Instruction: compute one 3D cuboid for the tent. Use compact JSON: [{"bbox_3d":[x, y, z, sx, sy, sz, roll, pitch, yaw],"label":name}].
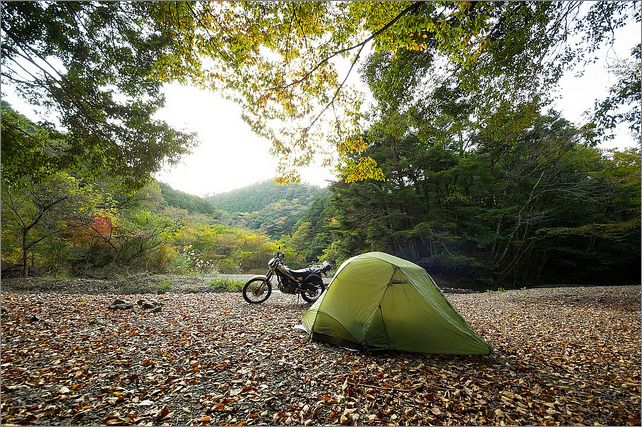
[{"bbox_3d":[2.109,2.760,9.882,3.576,1.468,3.412,4,-5,-27],"label":"tent"}]
